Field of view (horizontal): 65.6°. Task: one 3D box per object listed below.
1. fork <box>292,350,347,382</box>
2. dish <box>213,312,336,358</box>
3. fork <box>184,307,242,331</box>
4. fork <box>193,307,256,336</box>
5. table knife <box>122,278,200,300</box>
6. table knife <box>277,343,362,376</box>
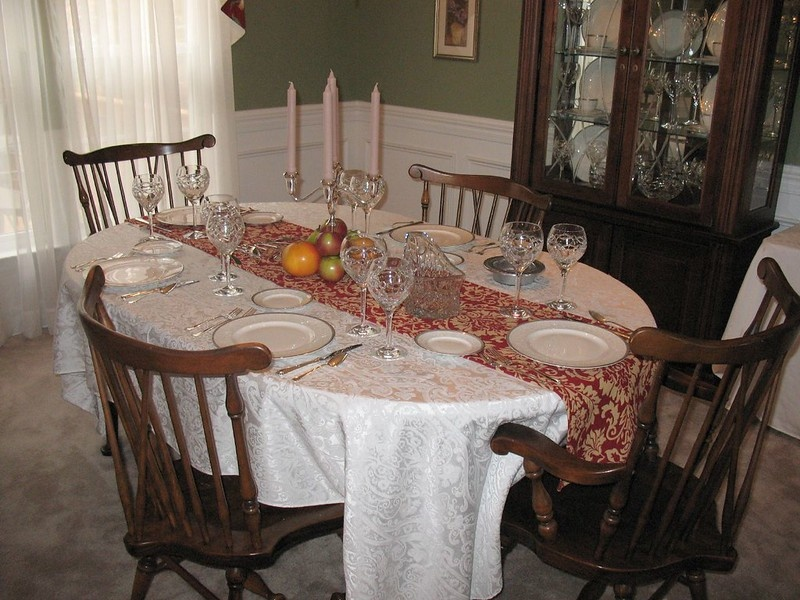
[{"bbox_3d":[-0.197,0.163,1.510,0.117,0.017,0.022,-27,25,-34],"label":"fork"},{"bbox_3d":[-0.331,0.086,1.641,0.161,0.019,0.162,-18,32,-37],"label":"dish"},{"bbox_3d":[-0.505,0.053,1.713,0.047,0.023,0.183,21,33,33],"label":"fork"},{"bbox_3d":[-0.475,0.050,1.726,0.059,0.026,0.212,17,29,32],"label":"fork"},{"bbox_3d":[-0.727,-0.031,1.875,0.184,0.010,0.034,-11,25,-33],"label":"table knife"},{"bbox_3d":[-0.200,0.149,1.535,0.169,0.014,0.024,-17,39,-29],"label":"table knife"}]
